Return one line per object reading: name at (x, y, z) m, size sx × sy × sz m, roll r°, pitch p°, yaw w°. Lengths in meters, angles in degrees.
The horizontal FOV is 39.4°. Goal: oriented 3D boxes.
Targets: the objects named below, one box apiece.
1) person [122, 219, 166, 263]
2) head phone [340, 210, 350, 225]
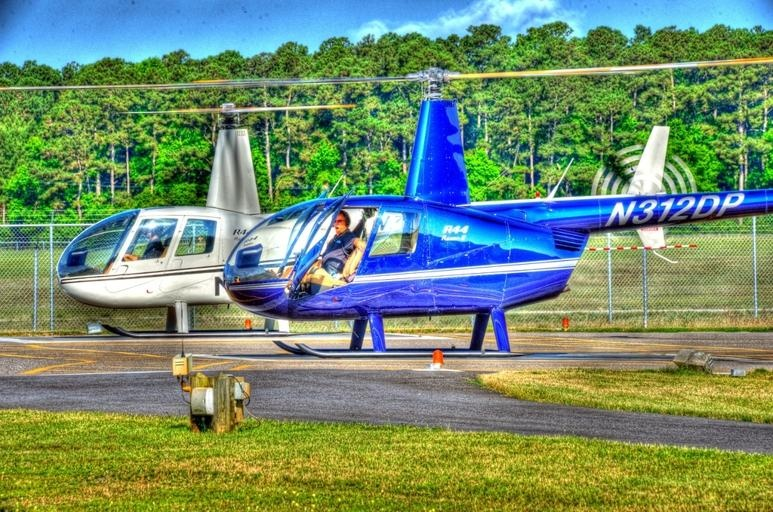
person at (-6.663, -0.461, 29.550) m, size 0.998 × 1.153 × 0.378 m, roll 14°, pitch 1°, yaw -25°
head phone at (-0.951, -0.915, 24.984) m, size 0.261 × 0.298 × 0.321 m, roll -5°, pitch -15°, yaw 12°
